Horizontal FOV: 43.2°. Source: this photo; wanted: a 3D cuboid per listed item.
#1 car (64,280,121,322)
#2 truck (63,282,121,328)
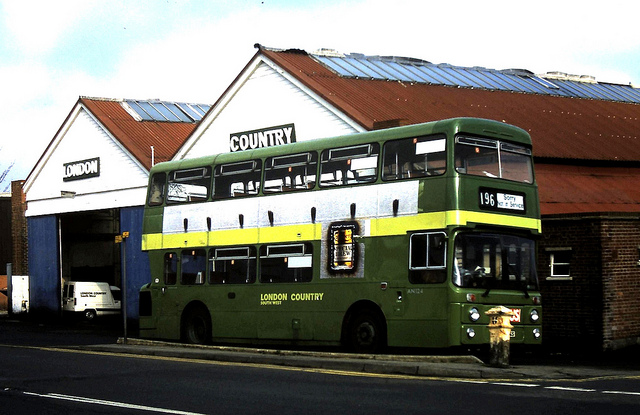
[{"bbox_3d":[-13.616,5.674,49.468,4.156,2.291,2.600,3,-6,-42],"label":"car"},{"bbox_3d":[-13.474,5.832,49.487,4.395,2.460,2.322,5,-8,-45],"label":"truck"}]
